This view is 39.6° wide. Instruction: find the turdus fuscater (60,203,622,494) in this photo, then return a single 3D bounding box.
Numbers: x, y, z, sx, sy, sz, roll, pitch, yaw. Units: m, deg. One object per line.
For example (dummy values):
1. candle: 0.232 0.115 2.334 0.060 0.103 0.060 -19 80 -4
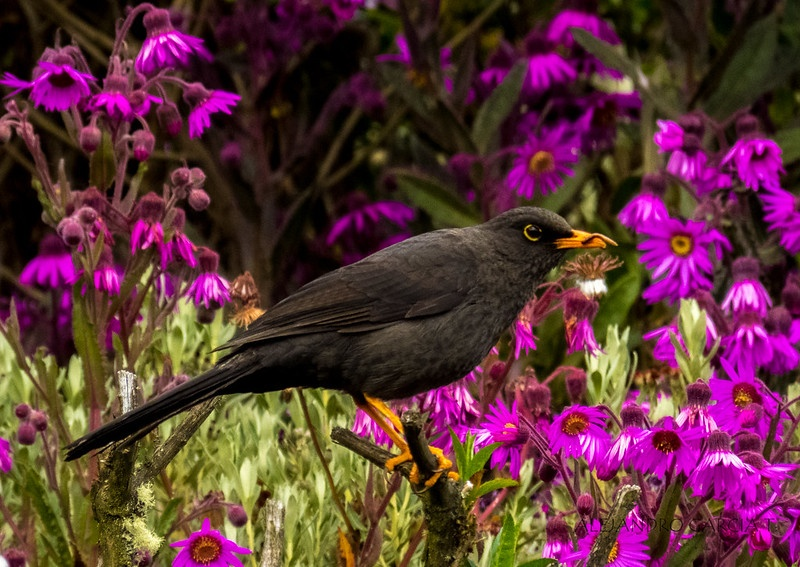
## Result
1. turdus fuscater: -0.224 0.208 4.629 2.110 1.123 0.610 3 -12 -1
